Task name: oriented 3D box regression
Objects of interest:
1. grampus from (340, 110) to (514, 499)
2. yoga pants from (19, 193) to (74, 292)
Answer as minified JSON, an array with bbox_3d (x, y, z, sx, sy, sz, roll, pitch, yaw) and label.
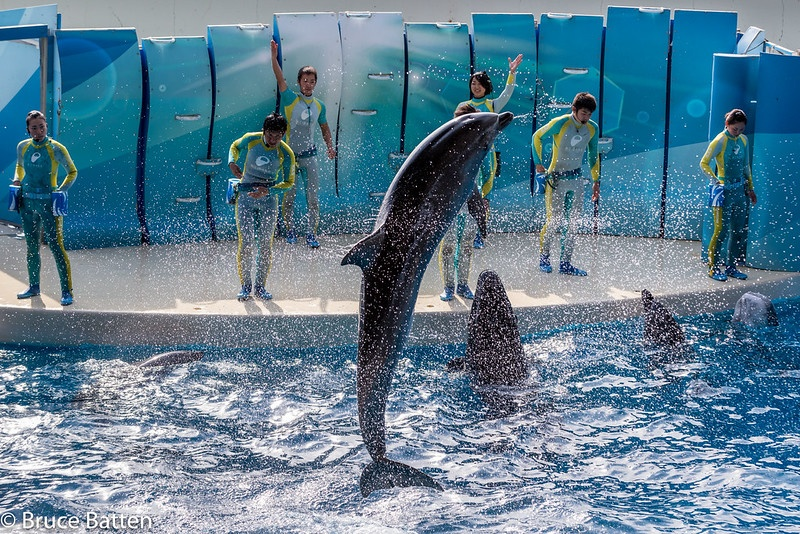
[{"bbox_3d":[0.074,0.316,8.222,1.168,3.211,0.352,1,7,-8],"label":"grampus"},{"bbox_3d":[-4.244,-0.333,11.493,0.539,1.338,0.325,1,29,8],"label":"yoga pants"}]
